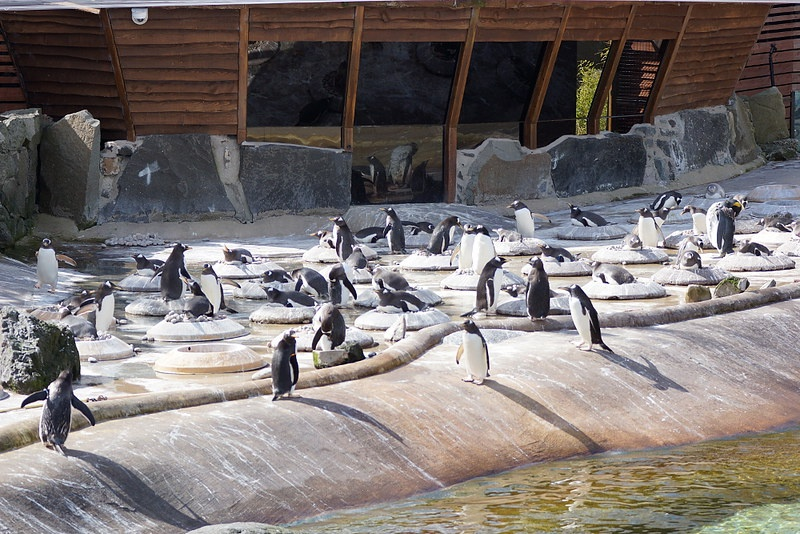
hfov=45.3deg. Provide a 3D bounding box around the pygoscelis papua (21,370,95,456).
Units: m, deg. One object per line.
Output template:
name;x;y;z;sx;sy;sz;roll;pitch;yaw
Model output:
pygoscelis papua;-3.054;1.285;8.468;0.579;0.778;0.313;7;5;-13
